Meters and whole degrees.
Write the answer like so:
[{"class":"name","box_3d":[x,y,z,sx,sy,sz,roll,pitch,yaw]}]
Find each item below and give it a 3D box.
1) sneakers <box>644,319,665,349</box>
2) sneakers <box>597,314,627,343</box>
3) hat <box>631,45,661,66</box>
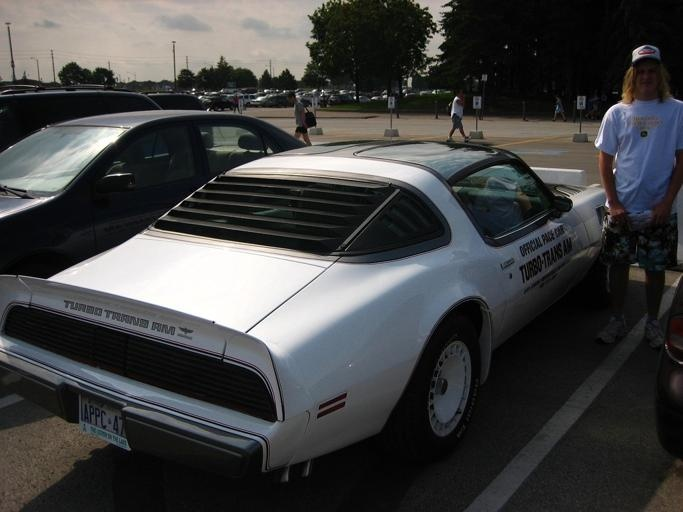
[{"class":"sneakers","box_3d":[2.713,0.687,4.065,0.125,0.187,0.407,-9,26,32]},{"class":"sneakers","box_3d":[2.484,0.663,4.357,0.423,0.233,0.139,-15,11,-39]},{"class":"hat","box_3d":[2.577,-1.682,3.942,0.185,0.148,0.583,12,25,31]}]
